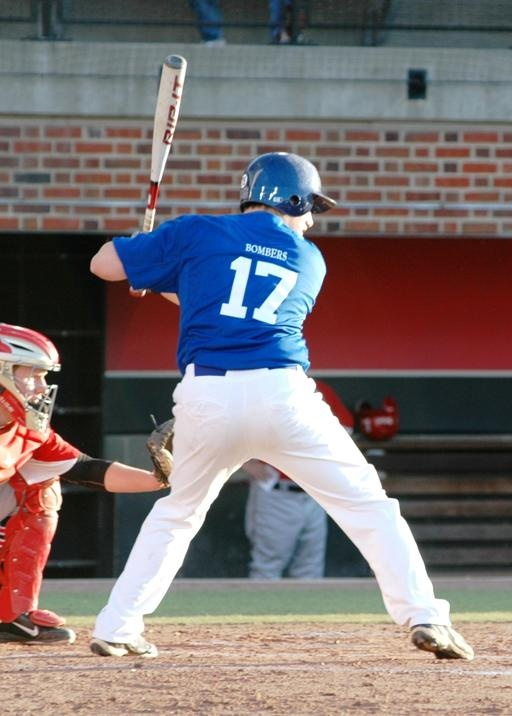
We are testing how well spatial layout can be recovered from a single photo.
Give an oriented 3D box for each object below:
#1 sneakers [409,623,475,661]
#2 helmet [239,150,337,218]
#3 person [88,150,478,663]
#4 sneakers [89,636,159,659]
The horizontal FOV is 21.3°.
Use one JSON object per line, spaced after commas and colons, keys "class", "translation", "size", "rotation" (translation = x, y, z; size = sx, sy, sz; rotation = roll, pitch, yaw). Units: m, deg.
{"class": "sneakers", "translation": [0.591, 0.922, 4.429], "size": [0.124, 0.086, 0.270], "rotation": [-17, -21, 33]}
{"class": "helmet", "translation": [0.093, -0.614, 4.716], "size": [0.371, 0.191, 0.239], "rotation": [-1, 12, -23]}
{"class": "person", "translation": [0.028, 0.255, 4.484], "size": [1.173, 1.485, 0.359], "rotation": [1, 5, 6]}
{"class": "sneakers", "translation": [-0.428, 0.952, 4.516], "size": [0.232, 0.087, 0.081], "rotation": [1, -3, -26]}
